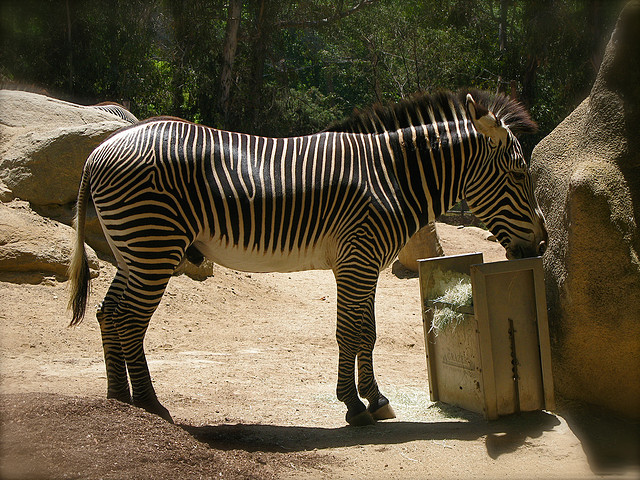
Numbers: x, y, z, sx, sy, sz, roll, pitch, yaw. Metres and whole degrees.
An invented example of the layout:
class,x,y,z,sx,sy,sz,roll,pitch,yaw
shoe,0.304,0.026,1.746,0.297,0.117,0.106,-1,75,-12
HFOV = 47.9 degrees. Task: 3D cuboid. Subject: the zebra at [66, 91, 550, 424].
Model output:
class,x,y,z,sx,sy,sz,roll,pitch,yaw
zebra,-0.126,0.219,7.188,4.706,3.439,1.483,1,2,-4
